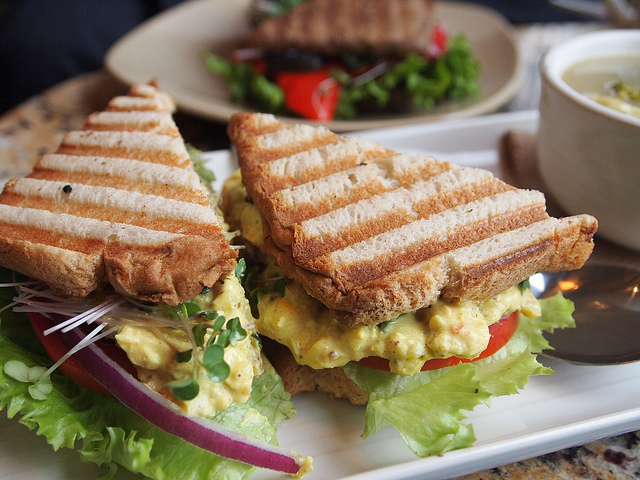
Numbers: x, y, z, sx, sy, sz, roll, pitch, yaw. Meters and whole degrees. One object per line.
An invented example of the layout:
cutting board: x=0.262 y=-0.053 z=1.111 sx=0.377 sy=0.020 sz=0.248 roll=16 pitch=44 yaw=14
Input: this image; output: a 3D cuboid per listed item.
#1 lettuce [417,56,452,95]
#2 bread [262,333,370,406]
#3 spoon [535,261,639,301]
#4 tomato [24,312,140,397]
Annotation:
lettuce: x=0.718 y=-1.031 z=3.764 sx=0.223 sy=0.150 sz=0.176 roll=-14 pitch=54 yaw=-3
bread: x=0.002 y=0.498 z=2.135 sx=0.284 sy=0.076 sz=0.279 roll=25 pitch=15 yaw=37
spoon: x=1.120 y=0.160 z=2.422 sx=0.232 sy=0.041 sz=0.211 roll=-22 pitch=15 yaw=-29
tomato: x=-0.829 y=0.368 z=2.109 sx=0.321 sy=0.281 sz=0.186 roll=31 pitch=86 yaw=8
